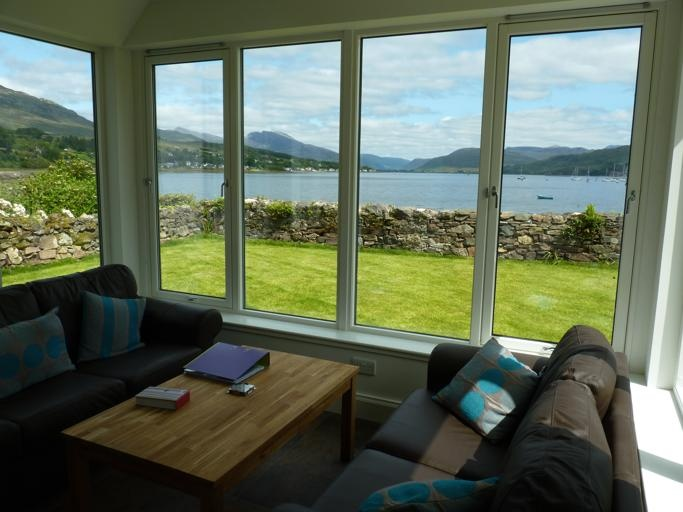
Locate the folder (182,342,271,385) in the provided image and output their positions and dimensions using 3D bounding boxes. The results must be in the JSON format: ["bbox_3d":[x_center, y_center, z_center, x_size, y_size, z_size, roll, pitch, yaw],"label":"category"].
[{"bbox_3d":[-0.709,0.655,3.105,0.502,0.166,0.493,11,8,24],"label":"folder"}]

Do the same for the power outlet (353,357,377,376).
[{"bbox_3d":[0.189,0.841,3.561,0.203,0.130,0.028,3,14,26],"label":"power outlet"}]
